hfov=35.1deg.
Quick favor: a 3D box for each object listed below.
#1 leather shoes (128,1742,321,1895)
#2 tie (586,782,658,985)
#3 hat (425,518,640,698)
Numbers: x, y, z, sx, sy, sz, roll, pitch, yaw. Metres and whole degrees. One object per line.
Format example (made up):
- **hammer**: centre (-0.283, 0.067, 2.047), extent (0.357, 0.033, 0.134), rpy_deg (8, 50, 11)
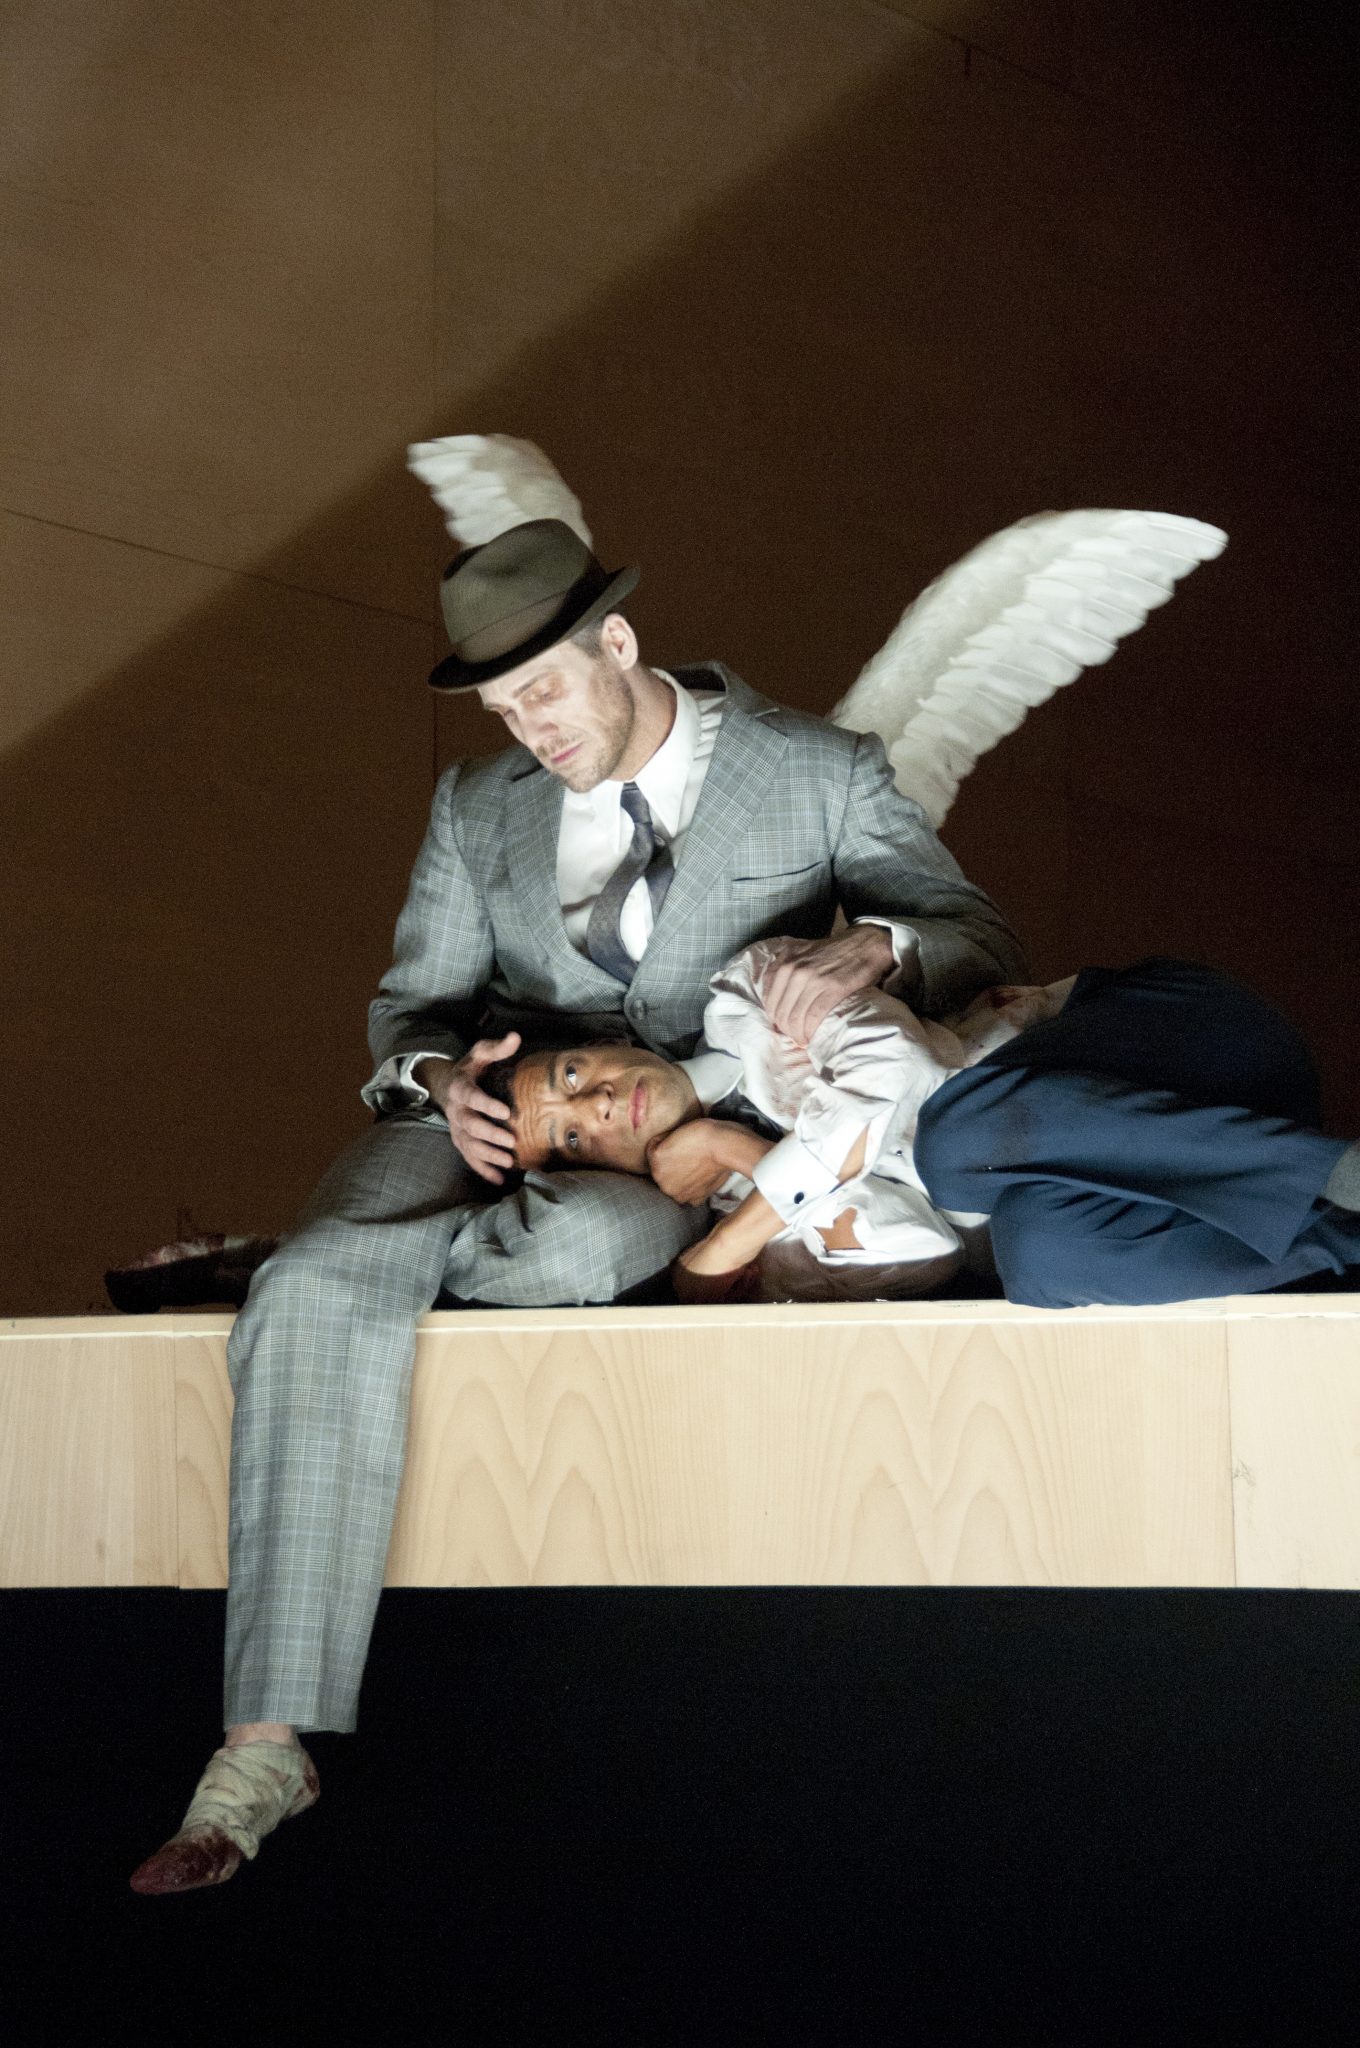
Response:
- **leather shoes**: centre (-0.310, 0.566, 1.568), extent (0.066, 0.066, 0.191), rpy_deg (10, 4, 21)
- **tie**: centre (-0.053, -0.128, 1.997), extent (0.046, 0.156, 0.103), rpy_deg (15, -13, -30)
- **hat**: centre (-0.122, -0.381, 1.924), extent (0.131, 0.148, 0.232), rpy_deg (1, 11, 29)
